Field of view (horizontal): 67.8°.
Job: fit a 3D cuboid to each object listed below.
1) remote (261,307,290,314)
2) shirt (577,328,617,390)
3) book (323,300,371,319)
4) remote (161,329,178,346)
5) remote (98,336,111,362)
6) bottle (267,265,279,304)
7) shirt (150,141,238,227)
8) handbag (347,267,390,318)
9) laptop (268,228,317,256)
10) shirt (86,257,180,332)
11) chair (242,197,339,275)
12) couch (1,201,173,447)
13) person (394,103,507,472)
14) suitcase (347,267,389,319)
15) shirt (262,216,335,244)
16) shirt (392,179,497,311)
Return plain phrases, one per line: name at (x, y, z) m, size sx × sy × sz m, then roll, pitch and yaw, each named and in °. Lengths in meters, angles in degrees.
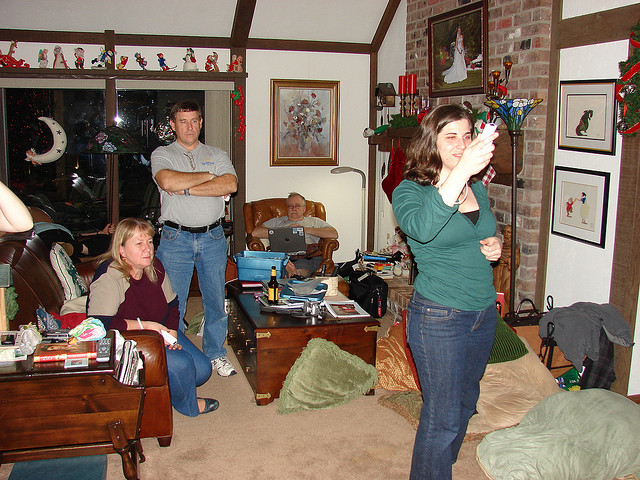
remote at (-0.357, 0.551, 3.782) m, size 0.228 × 0.040 × 0.055 m, roll 1°, pitch 10°, yaw 4°
shirt at (2.116, 0.940, 3.680) m, size 0.334 × 0.454 × 0.167 m, roll 0°, pitch 2°, yaw 6°
book at (0.193, 0.550, 3.870) m, size 0.279 × 0.054 × 0.418 m, roll -4°, pitch 11°, yaw -19°
remote at (-1.016, 0.655, 3.197) m, size 0.098 × 0.128 × 0.049 m, roll -6°, pitch 11°, yaw -29°
remote at (-1.148, 0.578, 2.526) m, size 0.067 × 0.030 × 0.123 m, roll 4°, pitch 40°, yaw -12°
bottle at (-0.393, 0.359, 3.949) m, size 0.092 × 0.265 × 0.286 m, roll -1°, pitch 10°, yaw -5°
shirt at (-1.047, -0.467, 3.907) m, size 0.648 × 0.752 × 0.412 m, roll -2°, pitch 4°, yaw -31°
handbag at (0.532, 0.624, 5.370) m, size 0.285 × 0.505 × 0.516 m, roll -5°, pitch 17°, yaw -26°
laptop at (-0.361, 0.014, 5.594) m, size 0.409 × 0.300 × 0.319 m, roll 0°, pitch 20°, yaw 1°
shirt at (-1.289, 0.422, 3.335) m, size 0.466 × 0.589 × 0.750 m, roll -5°, pitch -4°, yaw 27°
chair at (-0.374, -0.095, 6.091) m, size 1.031 × 1.234 × 0.991 m, roll 1°, pitch -7°, yaw -14°
couch at (-1.416, 0.538, 2.899) m, size 0.815 × 1.061 × 1.501 m, roll -1°, pitch 10°, yaw -20°
person at (0.625, 0.330, 2.302) m, size 0.521 × 1.935 × 0.470 m, roll -2°, pitch 10°, yaw -11°
suitcase at (0.493, 0.566, 4.995) m, size 0.223 × 0.411 × 0.412 m, roll -11°, pitch 22°, yaw -30°
shirt at (-0.293, -0.127, 5.951) m, size 0.832 × 0.316 × 0.484 m, roll -1°, pitch 10°, yaw -6°
shirt at (0.628, 0.020, 2.309) m, size 0.562 × 0.612 × 0.353 m, roll -5°, pitch 11°, yaw -27°
